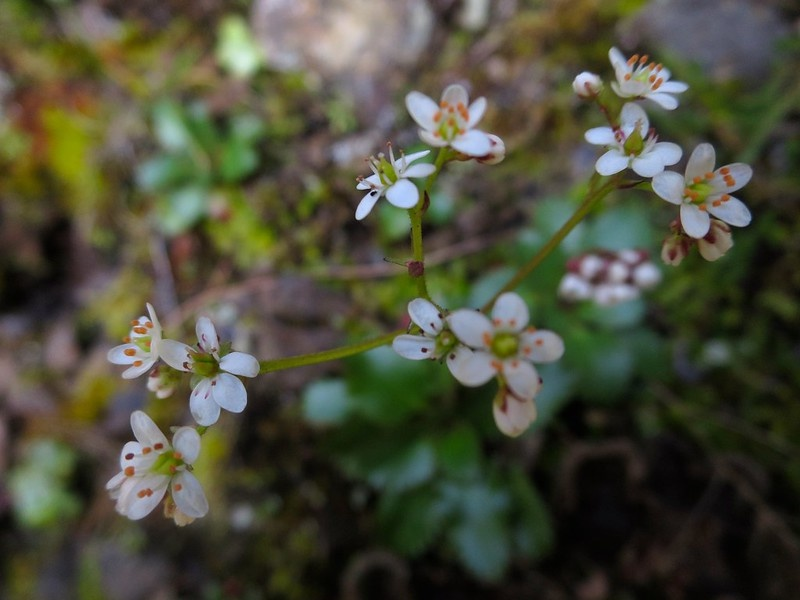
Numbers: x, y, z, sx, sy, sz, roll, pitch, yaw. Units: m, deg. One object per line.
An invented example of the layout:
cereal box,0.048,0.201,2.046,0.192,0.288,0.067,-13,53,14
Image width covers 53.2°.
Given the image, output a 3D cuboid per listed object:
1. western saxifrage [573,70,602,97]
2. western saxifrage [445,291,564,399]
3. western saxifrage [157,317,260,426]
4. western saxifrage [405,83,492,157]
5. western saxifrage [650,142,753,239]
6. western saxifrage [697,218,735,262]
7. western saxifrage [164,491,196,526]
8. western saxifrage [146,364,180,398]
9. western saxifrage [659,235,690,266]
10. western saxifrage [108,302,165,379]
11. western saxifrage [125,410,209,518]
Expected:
western saxifrage,0.707,-0.829,3.011,0.084,0.061,0.105,11,110,-12
western saxifrage,0.370,0.166,2.764,0.374,0.148,0.360,-20,81,2
western saxifrage,-0.656,0.248,2.956,0.363,0.182,0.373,-40,87,3
western saxifrage,0.183,-0.619,2.877,0.271,0.169,0.280,-12,81,3
western saxifrage,1.089,-0.364,2.980,0.360,0.139,0.347,-38,98,-10
western saxifrage,1.139,-0.216,2.886,0.112,0.054,0.151,17,92,-1
western saxifrage,-0.810,0.762,2.920,0.101,0.051,0.149,-12,95,-4
western saxifrage,-0.904,0.300,2.995,0.119,0.060,0.117,5,111,19
western saxifrage,0.999,-0.187,2.901,0.085,0.039,0.117,14,96,9
western saxifrage,-0.973,0.166,2.966,0.223,0.177,0.210,-22,80,1
western saxifrage,-0.849,0.595,2.976,0.271,0.160,0.403,-24,80,10
